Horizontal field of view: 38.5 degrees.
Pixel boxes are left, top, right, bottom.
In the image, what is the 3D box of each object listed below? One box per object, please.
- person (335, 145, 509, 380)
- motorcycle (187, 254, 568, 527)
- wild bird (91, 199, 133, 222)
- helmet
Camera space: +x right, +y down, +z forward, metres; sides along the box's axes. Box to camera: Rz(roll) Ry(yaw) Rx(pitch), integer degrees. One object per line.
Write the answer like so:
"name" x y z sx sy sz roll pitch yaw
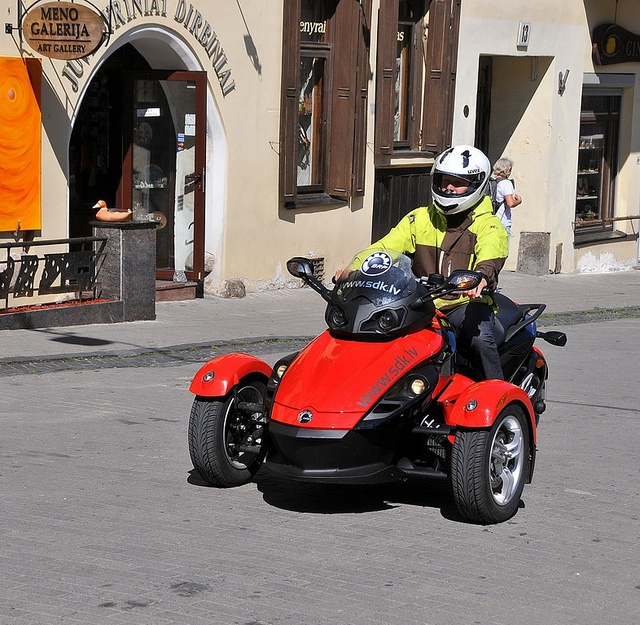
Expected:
"person" 0.723 -0.118 5.428 0.928 1.842 0.781 7 6 41
"motorcycle" 0.588 0.574 5.786 1.749 1.608 2.921 1 -3 27
"wild bird" -2.539 -1.211 11.273 0.447 0.352 0.276 3 -12 -2
"helmet" 0.838 -0.815 5.461 0.288 0.352 0.410 9 25 22
